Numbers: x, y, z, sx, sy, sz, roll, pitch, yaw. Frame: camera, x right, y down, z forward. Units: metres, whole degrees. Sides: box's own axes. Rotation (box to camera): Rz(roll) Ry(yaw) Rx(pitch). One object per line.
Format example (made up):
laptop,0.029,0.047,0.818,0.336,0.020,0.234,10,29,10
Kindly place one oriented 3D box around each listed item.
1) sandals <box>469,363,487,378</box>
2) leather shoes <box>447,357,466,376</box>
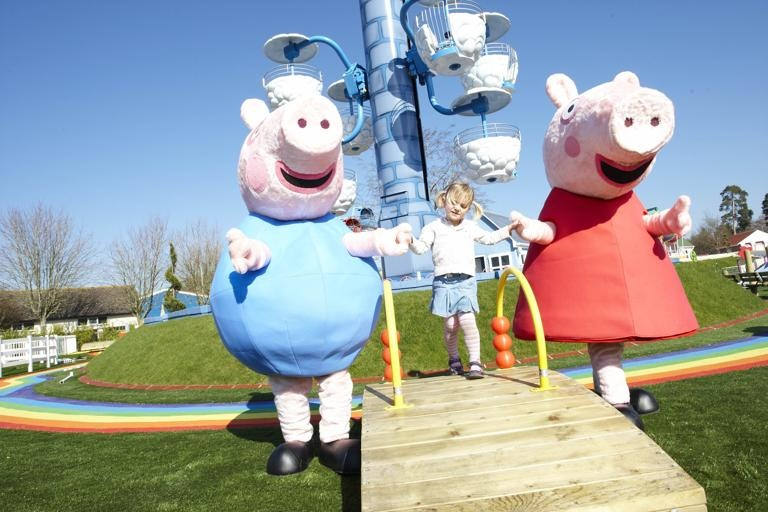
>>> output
sandals,1.009,1.254,5.134,0.108,0.141,0.301,-1,-15,5
leather shoes,0.878,1.334,5.613,0.119,0.130,0.293,0,-1,-2
